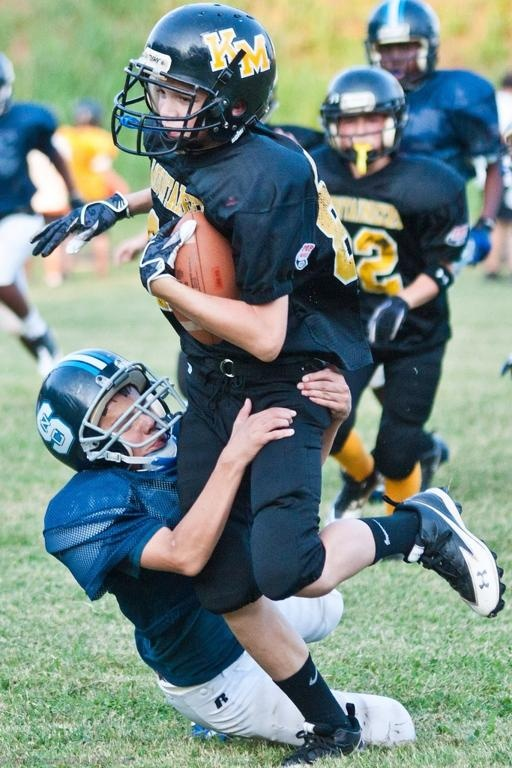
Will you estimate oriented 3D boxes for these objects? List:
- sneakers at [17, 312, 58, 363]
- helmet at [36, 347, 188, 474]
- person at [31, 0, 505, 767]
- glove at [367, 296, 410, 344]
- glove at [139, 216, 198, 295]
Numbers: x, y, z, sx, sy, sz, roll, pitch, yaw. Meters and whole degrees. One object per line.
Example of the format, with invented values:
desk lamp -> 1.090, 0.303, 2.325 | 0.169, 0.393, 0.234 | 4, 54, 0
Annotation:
sneakers -> -1.348, -0.267, 5.085 | 0.146, 0.431, 0.193 | -37, 63, -11
helmet -> -0.285, 0.044, 1.676 | 0.321, 0.229, 0.241 | 0, 26, 36
person -> 0.002, -0.037, 1.685 | 0.844, 1.462, 0.683 | 12, 20, 42
glove -> 0.415, -0.194, 2.513 | 0.101, 0.165, 0.069 | 37, -15, -37
glove -> -0.180, -0.249, 1.505 | 0.061, 0.147, 0.116 | 40, -14, -19
